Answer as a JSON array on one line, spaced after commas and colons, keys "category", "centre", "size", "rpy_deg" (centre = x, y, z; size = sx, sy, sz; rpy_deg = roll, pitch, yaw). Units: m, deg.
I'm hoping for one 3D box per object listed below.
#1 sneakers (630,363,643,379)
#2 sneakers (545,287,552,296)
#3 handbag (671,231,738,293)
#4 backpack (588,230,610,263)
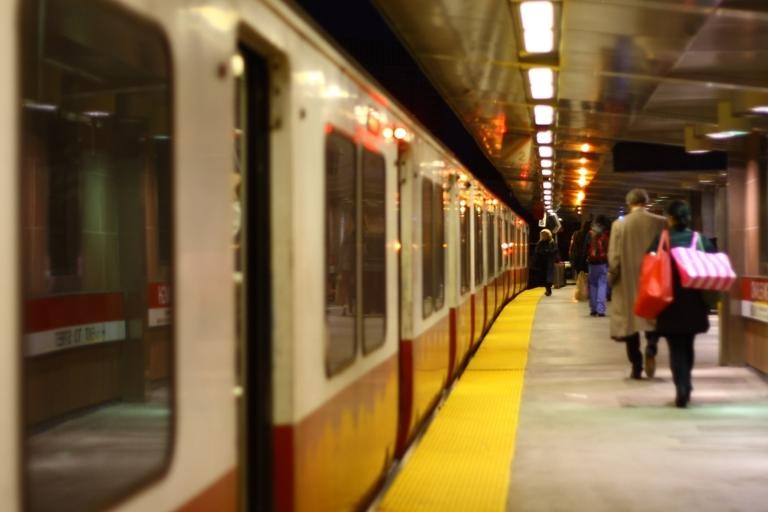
[{"category": "sneakers", "centre": [3.444, 1.604, 8.548], "size": [0.124, 0.235, 0.245], "rpy_deg": [0, 2, 9]}, {"category": "sneakers", "centre": [6.853, 1.449, 25.761], "size": [0.220, 0.284, 0.687], "rpy_deg": [1, 10, 16]}, {"category": "handbag", "centre": [3.436, -0.006, 6.597], "size": [0.663, 0.301, 0.864], "rpy_deg": [8, -30, 49]}, {"category": "backpack", "centre": [5.261, -0.282, 15.230], "size": [0.650, 0.880, 0.486], "rpy_deg": [-7, 23, 7]}]
